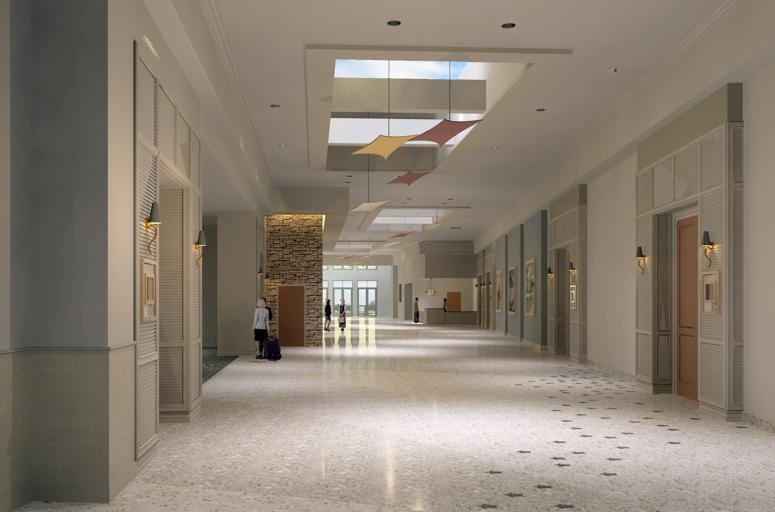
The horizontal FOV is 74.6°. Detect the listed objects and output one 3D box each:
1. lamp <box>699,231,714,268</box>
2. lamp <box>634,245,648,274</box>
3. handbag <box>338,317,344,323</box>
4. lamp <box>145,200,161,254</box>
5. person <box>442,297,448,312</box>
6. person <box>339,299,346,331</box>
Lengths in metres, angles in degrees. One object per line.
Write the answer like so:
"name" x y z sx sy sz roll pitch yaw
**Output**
"lamp" 5.320 -0.103 8.517 0.156 0.567 0.247 -1 -7 9
"lamp" 5.365 0.066 10.812 0.160 0.576 0.372 -1 -8 10
"handbag" -2.544 3.550 28.089 0.216 0.319 0.319 -1 -5 16
"lamp" -2.976 -0.364 6.444 0.151 0.652 0.371 3 -8 -20
"person" 4.263 3.540 38.054 0.298 0.832 0.784 -2 -8 18
"person" -2.519 3.243 27.987 0.317 1.755 1.272 2 -8 -11
